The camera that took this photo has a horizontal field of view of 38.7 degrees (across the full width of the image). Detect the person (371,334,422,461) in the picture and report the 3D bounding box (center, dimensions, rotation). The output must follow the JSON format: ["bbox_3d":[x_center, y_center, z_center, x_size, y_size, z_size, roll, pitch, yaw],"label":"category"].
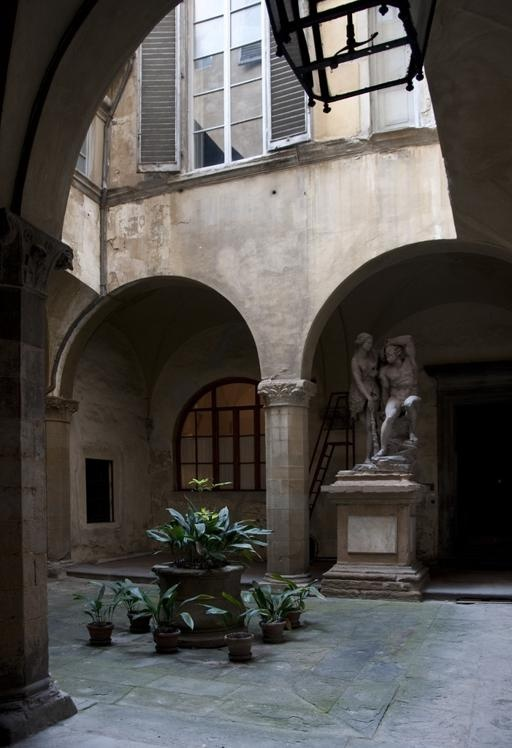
[{"bbox_3d":[1.600,0.250,8.204,0.486,1.466,0.332,5,-13,9],"label":"person"}]

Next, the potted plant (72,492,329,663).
[{"bbox_3d":[-0.267,1.459,5.567,1.343,0.858,1.381,0,-11,1],"label":"potted plant"}]
